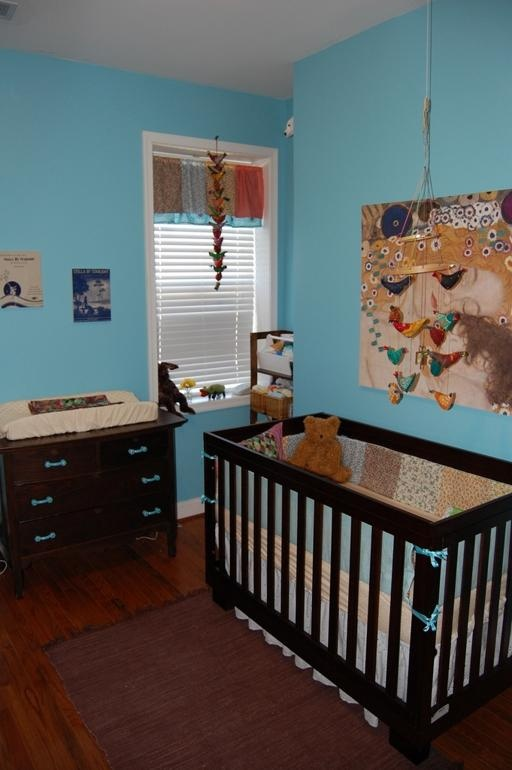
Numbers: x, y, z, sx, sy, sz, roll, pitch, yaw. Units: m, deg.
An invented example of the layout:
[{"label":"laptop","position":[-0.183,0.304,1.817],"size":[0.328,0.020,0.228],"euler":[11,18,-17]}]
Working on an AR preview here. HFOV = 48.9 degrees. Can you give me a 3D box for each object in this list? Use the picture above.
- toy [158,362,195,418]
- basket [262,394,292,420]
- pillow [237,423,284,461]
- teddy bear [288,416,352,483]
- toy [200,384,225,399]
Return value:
[{"label":"toy","position":[-0.493,0.015,3.200],"size":[0.259,0.331,0.215],"euler":[-1,2,6]},{"label":"basket","position":[0.112,0.117,3.240],"size":[0.120,0.156,0.200],"euler":[-7,13,-29]},{"label":"pillow","position":[0.027,0.242,2.397],"size":[0.044,0.152,0.152],"euler":[-11,5,29]},{"label":"teddy bear","position":[0.265,0.266,2.377],"size":[0.254,0.266,0.163],"euler":[5,14,14]},{"label":"toy","position":[-0.261,0.038,3.422],"size":[0.195,0.122,0.066],"euler":[0,1,-27]}]
